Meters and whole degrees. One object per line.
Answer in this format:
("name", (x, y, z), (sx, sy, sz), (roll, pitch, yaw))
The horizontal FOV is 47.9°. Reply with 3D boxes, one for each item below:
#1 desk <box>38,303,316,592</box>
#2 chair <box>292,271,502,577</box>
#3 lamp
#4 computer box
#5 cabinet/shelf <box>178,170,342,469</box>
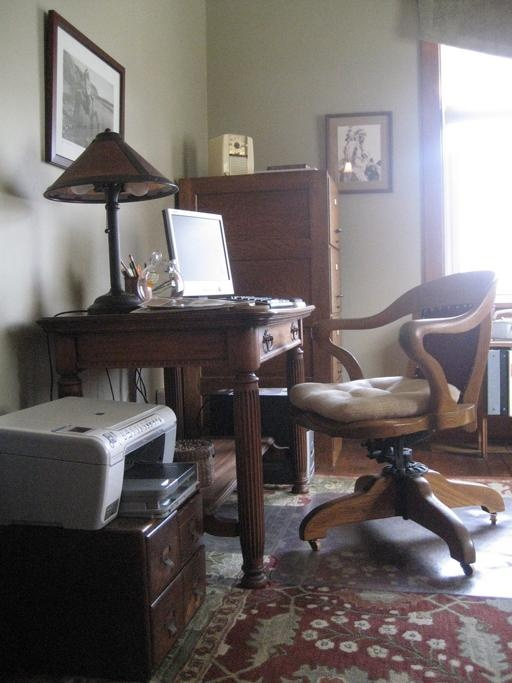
("desk", (-0.262, 0.228, 1.747), (0.554, 0.619, 0.819), (-3, 3, -1))
("chair", (0.466, 0.212, 1.928), (0.795, 0.933, 0.772), (0, 0, -17))
("lamp", (-0.381, -0.316, 1.568), (0.315, 0.483, 0.407), (-2, 2, 1))
("computer box", (0.064, 0.358, 2.454), (0.392, 0.345, 0.217), (-15, 24, -9))
("cabinet/shelf", (0.081, -0.250, 3.548), (1.170, 1.995, 1.122), (-2, 5, 6))
